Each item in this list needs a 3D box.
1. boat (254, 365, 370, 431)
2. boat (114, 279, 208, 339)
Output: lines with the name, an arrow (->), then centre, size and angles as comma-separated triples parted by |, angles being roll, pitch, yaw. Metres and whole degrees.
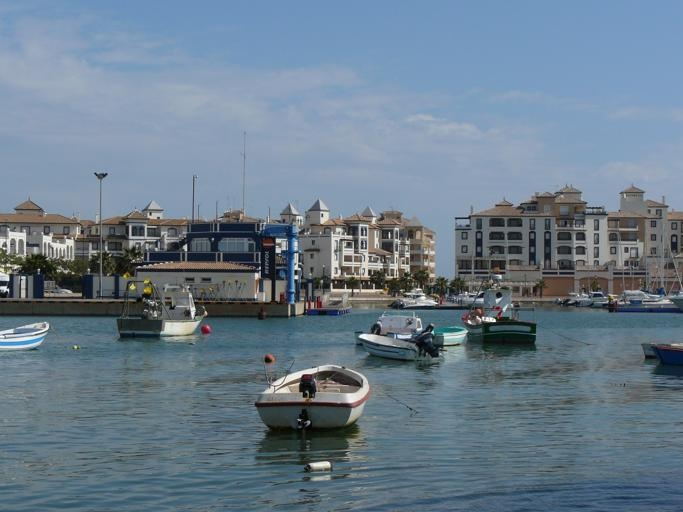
boat -> -1.114, 7.264, 71.096 | 5.253, 2.271, 8.603 | 1, 8, 9
boat -> -13.821, 4.743, 109.607 | 4.819, 3.748, 9.814 | 0, 0, 20
